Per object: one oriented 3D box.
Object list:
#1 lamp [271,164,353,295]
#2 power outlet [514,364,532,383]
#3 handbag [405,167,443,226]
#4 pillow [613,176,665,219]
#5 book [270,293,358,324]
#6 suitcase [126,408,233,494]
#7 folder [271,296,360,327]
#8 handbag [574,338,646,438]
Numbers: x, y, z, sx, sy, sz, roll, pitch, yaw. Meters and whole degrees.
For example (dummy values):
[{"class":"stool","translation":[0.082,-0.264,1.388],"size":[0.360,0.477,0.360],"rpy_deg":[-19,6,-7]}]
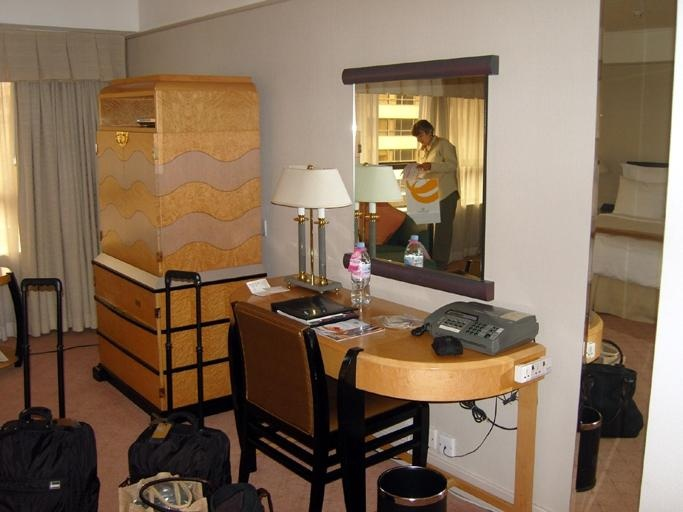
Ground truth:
[{"class":"lamp","translation":[-0.159,-0.172,3.578],"size":[0.452,0.944,0.687],"rpy_deg":[-8,12,-39]},{"class":"power outlet","translation":[0.813,0.520,2.571],"size":[0.072,0.068,0.035],"rpy_deg":[-7,14,-33]},{"class":"handbag","translation":[0.486,-0.371,3.245],"size":[0.232,0.317,0.194],"rpy_deg":[1,23,19]},{"class":"pillow","translation":[1.248,-0.248,2.385],"size":[0.050,0.119,0.176],"rpy_deg":[0,9,-34]},{"class":"book","translation":[-0.162,0.282,3.058],"size":[0.214,0.053,0.216],"rpy_deg":[14,17,39]},{"class":"suitcase","translation":[-0.875,1.113,3.031],"size":[0.535,0.517,0.309],"rpy_deg":[5,-11,9]},{"class":"folder","translation":[-0.151,0.282,3.059],"size":[0.220,0.054,0.221],"rpy_deg":[15,17,42]},{"class":"handbag","translation":[1.205,0.601,2.568],"size":[0.148,0.389,0.312],"rpy_deg":[-1,-1,-36]}]
